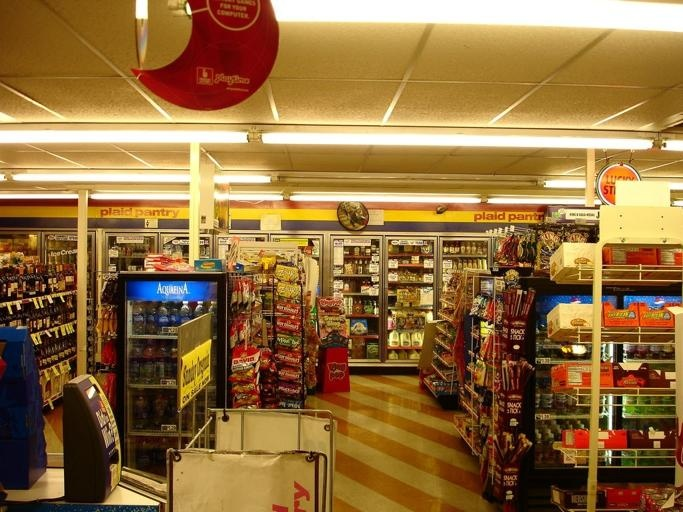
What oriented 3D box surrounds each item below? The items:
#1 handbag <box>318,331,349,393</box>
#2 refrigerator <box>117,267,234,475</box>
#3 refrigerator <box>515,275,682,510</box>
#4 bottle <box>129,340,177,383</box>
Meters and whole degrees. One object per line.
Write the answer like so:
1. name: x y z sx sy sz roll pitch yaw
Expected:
1. handbag: -0.112 1.563 8.945 0.556 0.804 0.535 -3 6 -27
2. refrigerator: -1.514 1.039 5.721 1.001 1.870 0.681 2 10 2
3. refrigerator: 2.213 1.187 5.248 1.332 2.165 1.588 3 6 23
4. bottle: -1.716 0.953 5.475 0.430 0.374 0.218 0 -3 -7
